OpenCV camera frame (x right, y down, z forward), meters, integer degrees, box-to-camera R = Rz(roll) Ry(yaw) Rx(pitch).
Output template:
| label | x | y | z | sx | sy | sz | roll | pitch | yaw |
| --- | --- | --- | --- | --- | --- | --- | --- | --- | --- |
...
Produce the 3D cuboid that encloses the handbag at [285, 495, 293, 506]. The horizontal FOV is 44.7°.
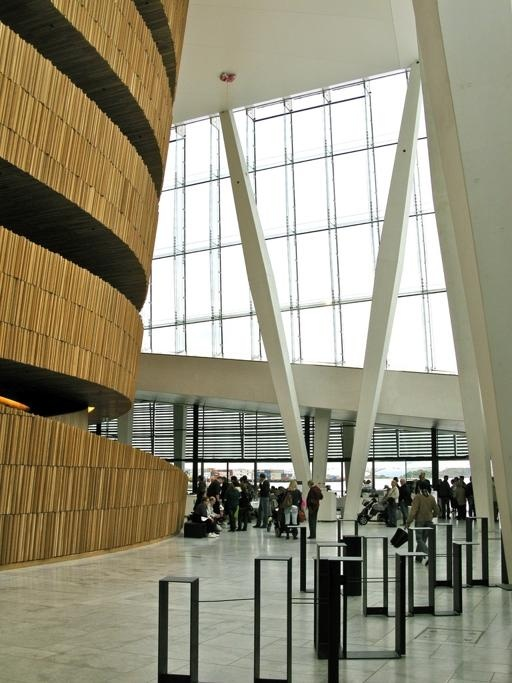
| label | x | y | z | sx | sy | sz | roll | pitch | yaw |
| --- | --- | --- | --- | --- | --- | --- | --- | --- | --- |
| handbag | 0.816 | 3.924 | 15.272 | 0.157 | 0.317 | 0.311 | -8 | -15 | 33 |
